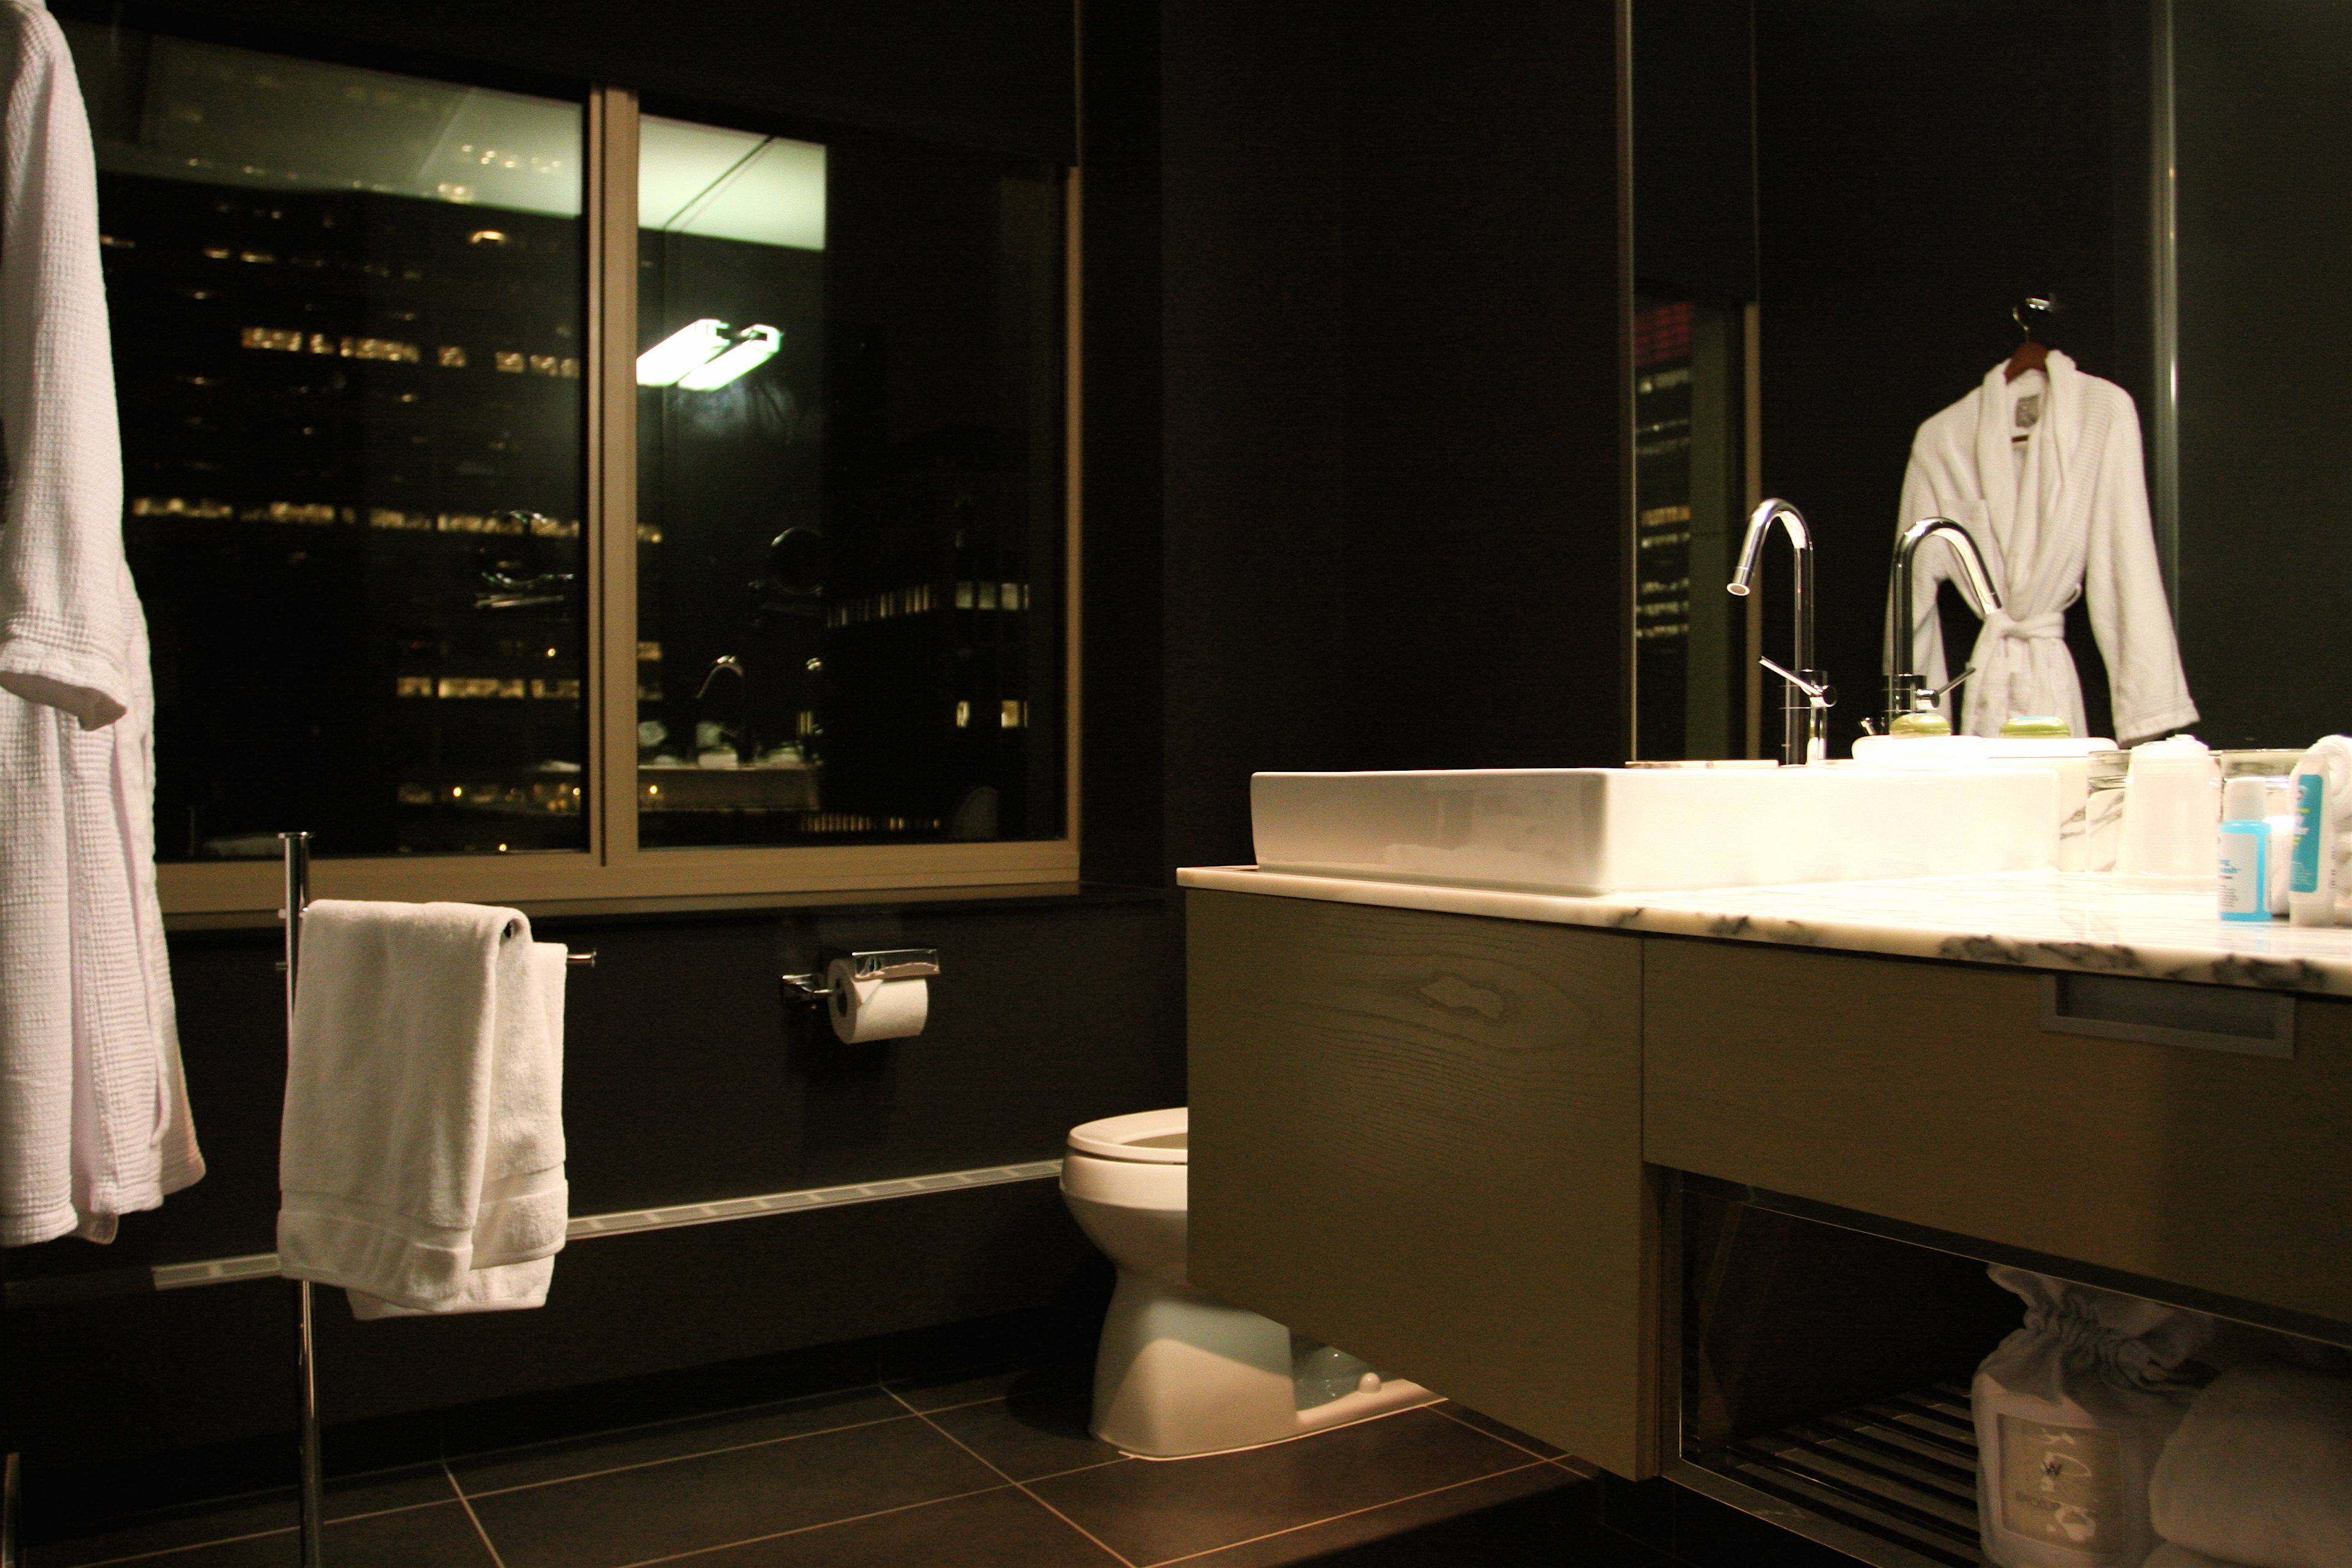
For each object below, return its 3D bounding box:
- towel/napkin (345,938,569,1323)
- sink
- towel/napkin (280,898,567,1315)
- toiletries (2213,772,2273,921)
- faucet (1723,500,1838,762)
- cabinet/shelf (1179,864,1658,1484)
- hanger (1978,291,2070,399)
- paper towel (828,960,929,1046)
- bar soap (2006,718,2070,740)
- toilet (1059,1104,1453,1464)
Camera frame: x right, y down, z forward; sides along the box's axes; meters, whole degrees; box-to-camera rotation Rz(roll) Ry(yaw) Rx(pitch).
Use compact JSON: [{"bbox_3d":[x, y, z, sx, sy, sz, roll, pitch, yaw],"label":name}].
[{"bbox_3d":[-0.993,0.464,2.592,0.233,0.540,0.506,1,-2,-40],"label":"towel/napkin"},{"bbox_3d":[0.723,0.053,2.691,1.215,0.212,0.471,0,9,0],"label":"sink"},{"bbox_3d":[-1.038,0.441,2.610,0.530,0.593,0.305,-4,-6,38],"label":"towel/napkin"},{"bbox_3d":[1.268,0.076,2.258,0.054,0.160,0.076,3,10,21],"label":"toiletries"},{"bbox_3d":[0.978,-0.218,3.094,0.208,0.454,0.102,9,18,37],"label":"faucet"},{"bbox_3d":[0.341,0.432,2.760,0.659,0.507,0.376,1,-2,8],"label":"cabinet/shelf"},{"bbox_3d":[1.276,-0.670,2.843,0.015,0.128,0.084,-10,13,-44],"label":"hanger"},{"bbox_3d":[-0.550,0.400,3.526,0.191,0.142,0.171,5,-45,-27],"label":"paper towel"},{"bbox_3d":[1.288,-0.088,2.861,0.091,0.033,0.036,6,11,31],"label":"bar soap"},{"bbox_3d":[0.114,0.944,3.705,0.773,0.546,0.520,4,-6,-28],"label":"toilet"}]
